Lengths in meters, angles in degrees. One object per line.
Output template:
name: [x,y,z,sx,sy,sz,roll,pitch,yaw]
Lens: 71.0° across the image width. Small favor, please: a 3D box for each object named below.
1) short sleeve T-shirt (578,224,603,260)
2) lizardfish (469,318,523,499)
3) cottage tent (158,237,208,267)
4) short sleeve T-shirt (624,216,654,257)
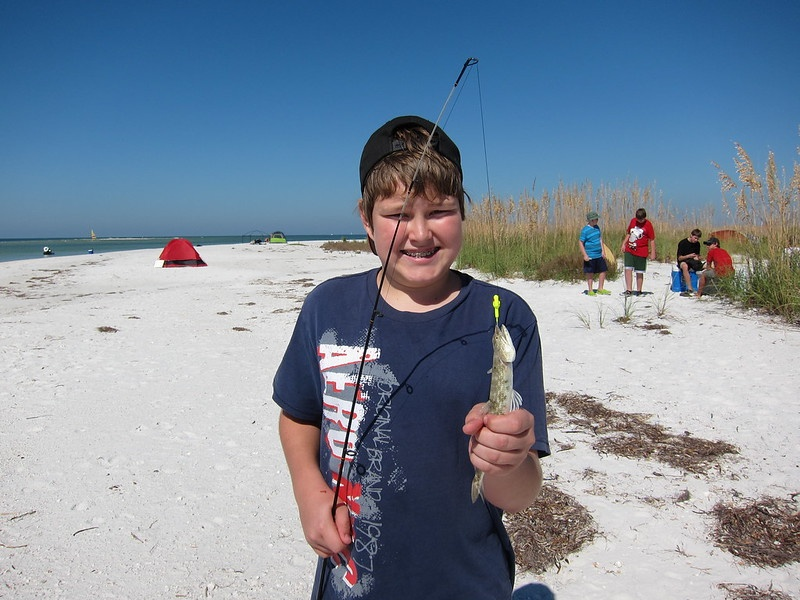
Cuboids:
short sleeve T-shirt: [3.691,-1.132,10.820,0.441,0.681,0.338,1,6,10]
lizardfish: [0.448,0.528,2.558,0.237,0.841,0.228,-1,6,-10]
cottage tent: [-8.268,-1.688,21.120,1.256,0.670,1.355,0,6,0]
short sleeve T-shirt: [4.566,-1.221,10.792,0.367,0.733,0.539,-19,26,-36]
